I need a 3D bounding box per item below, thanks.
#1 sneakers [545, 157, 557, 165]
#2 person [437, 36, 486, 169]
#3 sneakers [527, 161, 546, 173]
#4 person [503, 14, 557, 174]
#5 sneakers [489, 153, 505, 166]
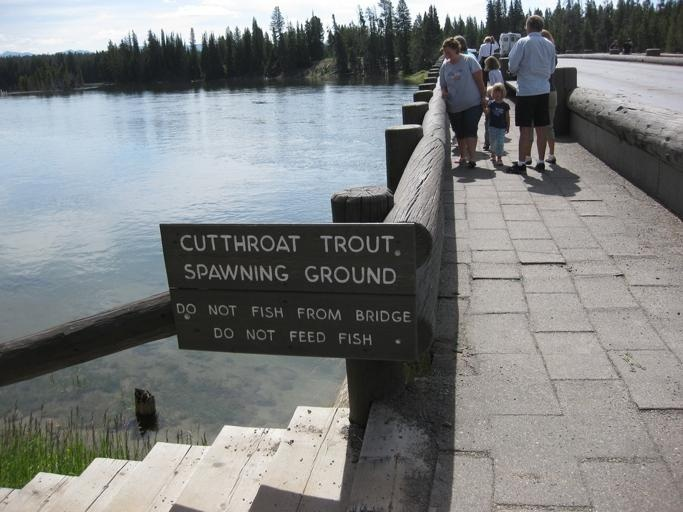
[{"bbox_3d":[3.206,-1.457,8.353,0.084,0.129,0.144,3,32,39],"label":"sneakers"},{"bbox_3d":[1.810,-2.244,8.185,0.633,1.897,0.651,-1,19,7],"label":"person"},{"bbox_3d":[2.901,-1.308,8.027,0.108,0.152,0.345,1,14,12],"label":"sneakers"},{"bbox_3d":[2.634,-2.244,7.667,0.667,2.140,0.644,-2,5,-12],"label":"person"},{"bbox_3d":[2.454,-1.507,8.600,0.096,0.151,0.336,-4,2,6],"label":"sneakers"}]
